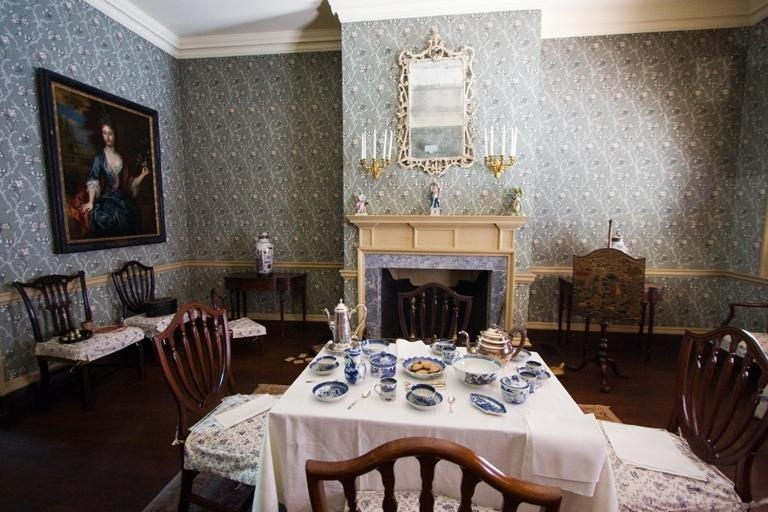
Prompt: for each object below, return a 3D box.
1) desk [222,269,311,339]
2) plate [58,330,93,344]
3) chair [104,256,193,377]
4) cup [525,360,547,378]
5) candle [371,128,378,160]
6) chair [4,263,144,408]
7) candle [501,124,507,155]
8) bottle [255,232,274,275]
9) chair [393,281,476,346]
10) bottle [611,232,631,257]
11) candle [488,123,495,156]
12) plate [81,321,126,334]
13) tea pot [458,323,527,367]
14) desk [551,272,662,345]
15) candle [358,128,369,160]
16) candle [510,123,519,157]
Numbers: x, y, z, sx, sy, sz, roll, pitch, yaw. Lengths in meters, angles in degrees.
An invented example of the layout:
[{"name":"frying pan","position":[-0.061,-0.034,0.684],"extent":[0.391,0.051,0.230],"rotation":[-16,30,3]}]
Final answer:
[{"name":"desk","position":[-1.600,0.421,7.248],"extent":[1.337,0.933,0.804],"rotation":[0,2,7]},{"name":"plate","position":[-3.342,0.867,5.660],"extent":[0.319,0.122,0.182],"rotation":[-2,4,-33]},{"name":"chair","position":[-2.983,0.486,6.505],"extent":[0.749,1.182,0.689],"rotation":[4,8,28]},{"name":"cup","position":[1.313,0.977,4.514],"extent":[0.155,0.108,0.100],"rotation":[4,10,25]},{"name":"candle","position":[-0.123,-1.417,6.584],"extent":[0.059,0.355,0.023],"rotation":[0,5,-9]},{"name":"chair","position":[-3.420,0.799,6.425],"extent":[1.325,1.865,1.325],"rotation":[4,7,15]},{"name":"candle","position":[1.462,-1.411,6.398],"extent":[0.057,0.356,0.037],"rotation":[0,5,-10]},{"name":"bottle","position":[-1.625,-0.029,7.062],"extent":[0.218,0.552,0.156],"rotation":[-1,5,-18]},{"name":"chair","position":[0.570,0.657,5.884],"extent":[0.832,1.294,0.834],"rotation":[0,-4,3]},{"name":"bottle","position":[2.947,-0.146,6.508],"extent":[0.293,0.311,0.295],"rotation":[3,11,38]},{"name":"candle","position":[1.321,-1.408,6.413],"extent":[0.071,0.331,0.033],"rotation":[2,5,16]},{"name":"plate","position":[-3.225,0.829,5.946],"extent":[0.214,0.068,0.286],"rotation":[5,4,44]},{"name":"tea pot","position":[0.981,0.777,4.759],"extent":[0.573,0.361,0.369],"rotation":[2,3,9]},{"name":"desk","position":[2.731,0.706,6.731],"extent":[0.848,0.638,0.516],"rotation":[8,-1,3]},{"name":"candle","position":[-0.255,-1.396,6.563],"extent":[0.097,0.364,0.095],"rotation":[0,5,-4]},{"name":"candle","position":[1.585,-1.389,6.378],"extent":[0.089,0.355,0.057],"rotation":[2,5,11]}]
